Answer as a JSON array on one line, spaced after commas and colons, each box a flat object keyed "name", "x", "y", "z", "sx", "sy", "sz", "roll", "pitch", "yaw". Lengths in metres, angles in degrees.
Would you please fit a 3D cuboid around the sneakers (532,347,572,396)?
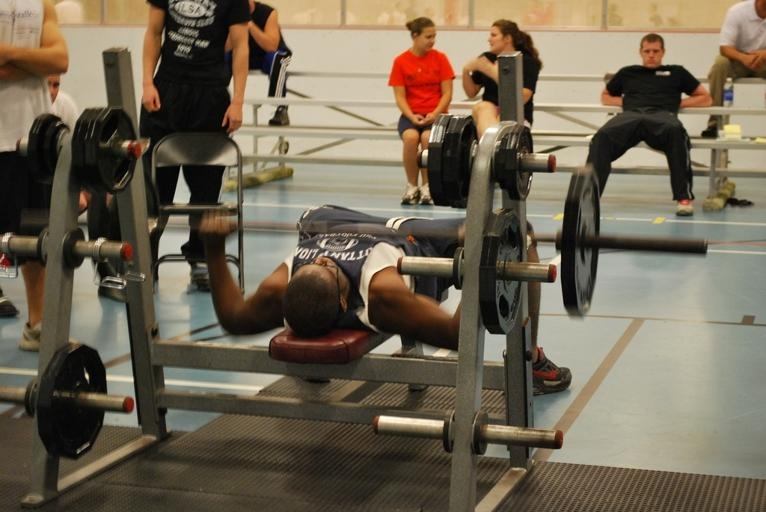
[{"name": "sneakers", "x": 0.895, "y": 0.628, "z": 4.057, "sx": 0.211, "sy": 0.280, "sz": 0.223, "roll": -6, "pitch": -2, "yaw": 22}]

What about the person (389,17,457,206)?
[{"name": "person", "x": 0.598, "y": -1.546, "z": 8.718, "sx": 0.890, "sy": 2.274, "sz": 1.029, "roll": 0, "pitch": 3, "yaw": -1}]

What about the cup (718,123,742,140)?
[{"name": "cup", "x": 3.873, "y": -1.388, "z": 8.392, "sx": 0.221, "sy": 0.155, "sz": 0.269, "roll": 5, "pitch": 9, "yaw": 22}]

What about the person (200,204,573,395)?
[{"name": "person", "x": -0.155, "y": 0.137, "z": 3.419, "sx": 0.763, "sy": 0.455, "sz": 1.326, "roll": 4, "pitch": 0, "yaw": 18}]

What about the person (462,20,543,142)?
[{"name": "person", "x": 1.287, "y": -1.747, "z": 8.515, "sx": 0.769, "sy": 1.760, "sz": 1.091, "roll": 12, "pitch": 17, "yaw": 38}]
